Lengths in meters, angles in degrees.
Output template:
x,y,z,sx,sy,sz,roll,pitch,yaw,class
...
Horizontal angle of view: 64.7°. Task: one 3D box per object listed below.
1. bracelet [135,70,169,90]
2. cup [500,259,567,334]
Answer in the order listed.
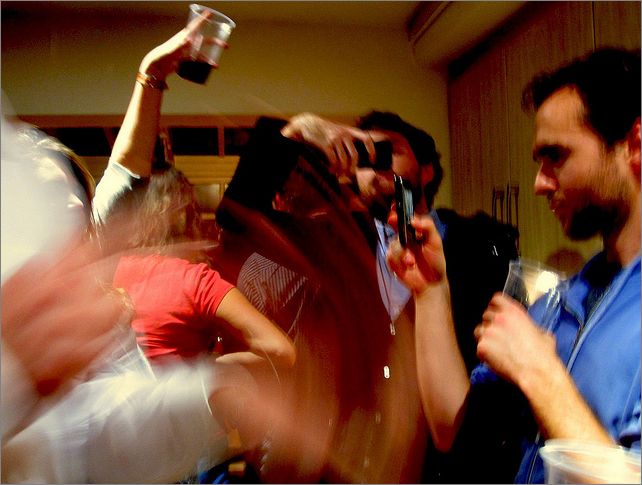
x,y,z,sx,sy,sz,roll,pitch,yaw,class
-0.444,-0.421,1.337,0.080,0.043,0.019,27,-15,-25,bracelet
0.577,0.155,1.384,0.108,0.177,0.112,-14,30,8,cup
